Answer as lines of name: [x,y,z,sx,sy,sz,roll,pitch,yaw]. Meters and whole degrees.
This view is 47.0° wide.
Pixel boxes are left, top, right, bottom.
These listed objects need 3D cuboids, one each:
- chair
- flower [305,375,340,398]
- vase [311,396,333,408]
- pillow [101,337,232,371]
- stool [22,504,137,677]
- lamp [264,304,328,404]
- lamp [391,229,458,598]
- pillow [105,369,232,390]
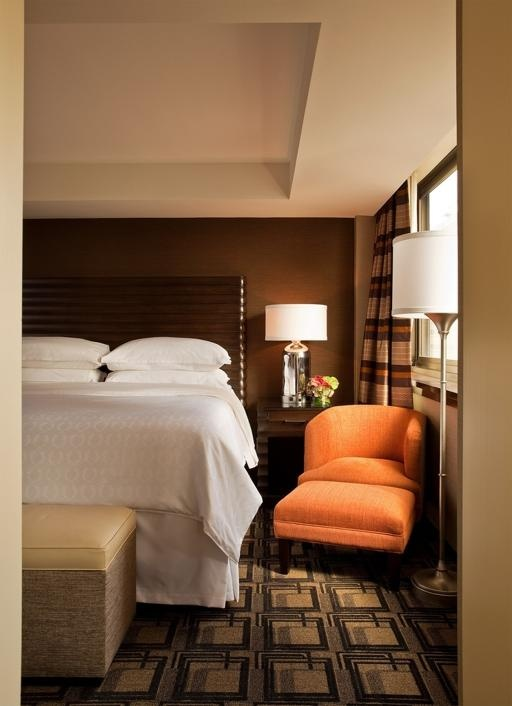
chair: [0.541,0.561,2.873,0.518,0.482,0.502,1,-4,19]
flower: [0.452,0.217,3.839,0.154,0.111,0.158,2,-2,4]
vase: [0.447,0.323,3.801,0.083,0.066,0.094,2,-16,2]
pillow: [-0.571,0.011,3.715,0.801,0.162,0.199,-1,1,8]
stool: [-0.604,0.752,1.924,0.335,0.423,0.366,-1,1,3]
lamp: [0.272,0.004,3.848,0.404,0.642,0.436,-1,1,30]
lamp: [0.724,0.233,2.455,0.252,1.423,0.484,-1,1,15]
pillow: [-0.525,0.164,3.620,0.774,0.083,0.353,-1,1,-18]
